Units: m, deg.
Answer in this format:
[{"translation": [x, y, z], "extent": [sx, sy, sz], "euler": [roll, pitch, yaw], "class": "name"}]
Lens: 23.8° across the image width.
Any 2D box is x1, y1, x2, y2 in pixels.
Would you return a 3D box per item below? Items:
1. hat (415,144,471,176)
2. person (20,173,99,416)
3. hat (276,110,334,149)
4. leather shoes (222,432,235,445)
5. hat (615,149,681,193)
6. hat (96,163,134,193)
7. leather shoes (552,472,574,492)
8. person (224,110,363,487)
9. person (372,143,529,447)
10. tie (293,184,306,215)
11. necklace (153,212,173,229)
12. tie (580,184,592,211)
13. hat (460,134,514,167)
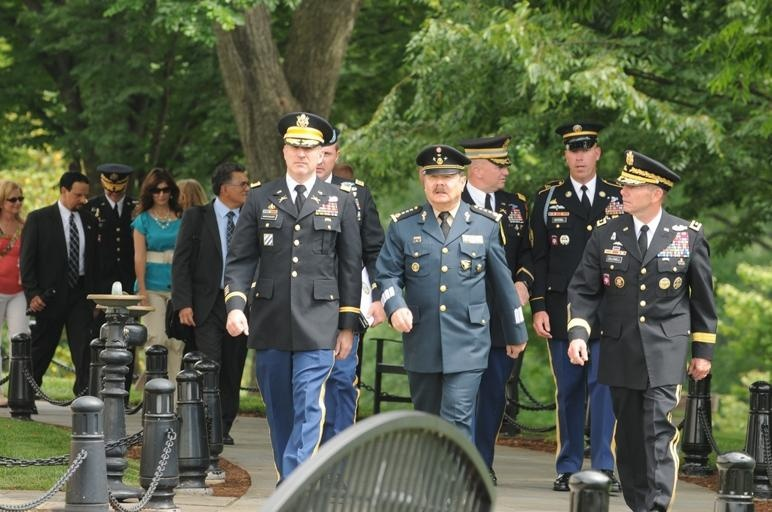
[{"translation": [0.607, -1.051, 20.029], "extent": [0.568, 0.355, 0.372], "euler": [1, -7, 8], "class": "hat"}, {"translation": [-4.300, 0.357, 23.980], "extent": [1.002, 2.895, 0.680], "euler": [3, -8, -8], "class": "person"}, {"translation": [-0.908, -1.375, 20.111], "extent": [0.721, 0.301, 0.673], "euler": [4, 3, 4], "class": "hat"}, {"translation": [-1.956, 2.255, 22.694], "extent": [0.136, 0.105, 0.182], "euler": [3, -1, 33], "class": "leather shoes"}, {"translation": [2.856, -0.918, 19.862], "extent": [0.776, 0.310, 0.646], "euler": [6, 6, -33], "class": "hat"}, {"translation": [-3.575, -1.033, 24.070], "extent": [0.424, 0.390, 0.445], "euler": [3, -7, -9], "class": "hat"}, {"translation": [1.973, 2.568, 20.714], "extent": [0.274, 0.227, 0.588], "euler": [0, -12, 3], "class": "leather shoes"}, {"translation": [-1.004, 0.395, 19.816], "extent": [1.441, 3.918, 0.554], "euler": [2, -8, -1], "class": "person"}, {"translation": [0.668, 0.370, 19.989], "extent": [1.588, 3.101, 0.654], "euler": [2, -8, -1], "class": "person"}, {"translation": [-0.960, -0.619, 19.895], "extent": [0.106, 0.298, 0.082], "euler": [3, -19, -1], "class": "tie"}, {"translation": [-2.801, -0.439, 23.101], "extent": [0.190, 0.101, 0.209], "euler": [0, -5, -18], "class": "necklace"}, {"translation": [2.305, -0.673, 21.154], "extent": [0.091, 0.313, 0.089], "euler": [-5, -24, 6], "class": "tie"}, {"translation": [1.110, -1.223, 21.145], "extent": [0.385, 0.210, 0.457], "euler": [-4, 7, -45], "class": "hat"}]
